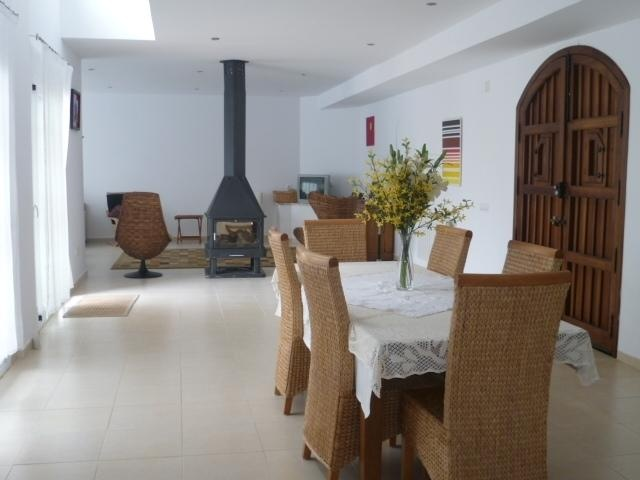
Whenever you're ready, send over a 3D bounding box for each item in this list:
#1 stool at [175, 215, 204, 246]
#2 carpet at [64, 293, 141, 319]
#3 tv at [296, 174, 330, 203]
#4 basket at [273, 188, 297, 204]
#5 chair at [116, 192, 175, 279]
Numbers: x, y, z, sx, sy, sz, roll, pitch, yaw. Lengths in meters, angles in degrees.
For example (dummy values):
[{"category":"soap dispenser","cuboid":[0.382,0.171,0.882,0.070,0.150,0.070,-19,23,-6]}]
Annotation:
[{"category":"stool","cuboid":[-2.932,-0.254,10.296,0.618,0.604,0.569,-2,9,-18]},{"category":"carpet","cuboid":[-2.558,0.759,5.370,0.755,0.015,1.134,-2,8,-15]},{"category":"tv","cuboid":[-0.161,-1.121,9.880,0.915,0.558,0.267,8,12,44]},{"category":"basket","cuboid":[-0.774,-0.960,10.140,0.579,0.312,0.424,1,8,5]},{"category":"chair","cuboid":[-2.667,-0.081,6.885,0.744,1.259,0.565,-1,9,-12]}]
